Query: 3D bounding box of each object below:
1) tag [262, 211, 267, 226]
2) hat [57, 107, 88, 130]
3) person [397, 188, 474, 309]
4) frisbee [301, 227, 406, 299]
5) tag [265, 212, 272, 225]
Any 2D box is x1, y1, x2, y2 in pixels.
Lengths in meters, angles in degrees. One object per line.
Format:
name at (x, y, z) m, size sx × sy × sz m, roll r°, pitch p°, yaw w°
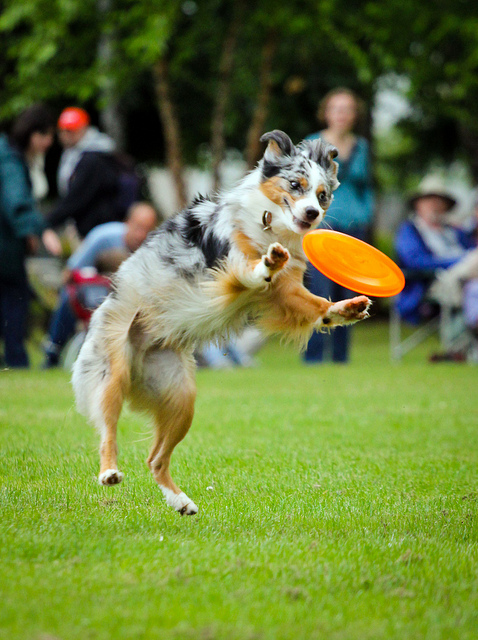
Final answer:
tag at (0.109, -0.450, 3.900) m, size 0.019 × 0.061 × 0.022 m, roll 1°, pitch 4°, yaw -1°
hat at (-1.626, -1.943, 8.520) m, size 0.275 × 0.248 × 0.414 m, roll 0°, pitch 3°, yaw -10°
person at (2.361, -0.869, 10.591) m, size 0.857 × 1.430 × 1.484 m, roll 2°, pitch 4°, yaw 13°
frisbee at (0.588, -0.305, 4.397) m, size 0.605 × 0.088 × 0.532 m, roll 8°, pitch 37°, yaw -44°
tag at (0.130, -0.451, 3.900) m, size 0.015 × 0.040 × 0.046 m, roll 3°, pitch 5°, yaw 21°
